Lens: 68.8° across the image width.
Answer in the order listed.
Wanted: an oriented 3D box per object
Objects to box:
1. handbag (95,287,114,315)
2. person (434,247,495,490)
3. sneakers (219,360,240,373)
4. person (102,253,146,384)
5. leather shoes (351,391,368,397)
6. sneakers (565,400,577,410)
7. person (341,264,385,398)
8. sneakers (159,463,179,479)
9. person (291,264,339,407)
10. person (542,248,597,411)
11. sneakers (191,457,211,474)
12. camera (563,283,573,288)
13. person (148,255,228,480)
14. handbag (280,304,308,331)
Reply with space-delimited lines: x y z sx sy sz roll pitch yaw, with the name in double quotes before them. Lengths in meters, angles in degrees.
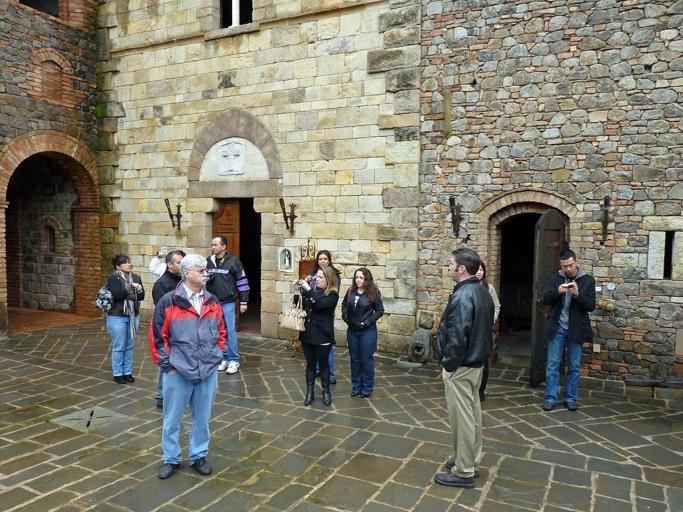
"handbag" -3.485 0.665 7.302 0.218 0.384 0.330 -7 11 -34
"person" 1.227 1.140 5.118 0.531 2.351 0.622 4 11 24
"sneakers" -1.814 1.792 8.098 0.300 0.171 0.469 2 -6 3
"person" -3.262 0.952 7.553 0.521 1.938 0.437 -5 11 -25
"leather shoes" 0.266 1.970 7.090 0.246 0.088 0.078 9 -9 -26
"sneakers" 3.076 2.009 6.680 0.080 0.056 0.160 -2 -7 7
"person" 0.289 1.090 7.017 0.576 1.803 0.380 3 10 17
"sneakers" -1.798 2.232 5.177 0.097 0.088 0.262 2 -9 4
"person" -0.324 1.093 6.829 0.521 1.825 0.505 0 10 -1
"person" 3.052 0.990 6.739 0.633 2.080 0.722 2 10 13
"sneakers" -1.469 2.212 5.295 0.108 0.101 0.288 -2 1 -41
"camera" 2.923 0.380 6.463 0.128 0.054 0.162 4 9 24
"person" -1.587 1.136 5.210 0.737 2.264 0.517 -2 10 -13
"handbag" -0.647 0.859 6.758 0.290 0.303 0.361 -2 9 -14
